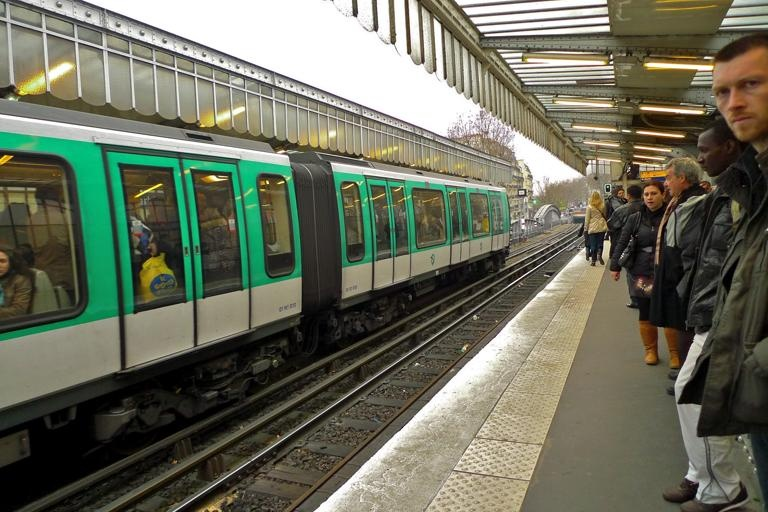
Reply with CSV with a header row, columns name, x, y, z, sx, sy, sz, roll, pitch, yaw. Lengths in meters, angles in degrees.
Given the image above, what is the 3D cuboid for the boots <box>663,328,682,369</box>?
name,x,y,z,sx,sy,sz,roll,pitch,yaw
boots,3.992,1.263,6.937,0.235,0.544,0.561,-8,-10,27

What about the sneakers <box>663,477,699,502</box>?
name,x,y,z,sx,sy,sz,roll,pitch,yaw
sneakers,2.585,2.057,4.457,0.341,0.142,0.128,-2,3,9

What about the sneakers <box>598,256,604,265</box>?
name,x,y,z,sx,sy,sz,roll,pitch,yaw
sneakers,7.613,0.137,17.818,0.098,0.293,0.114,-32,14,-1

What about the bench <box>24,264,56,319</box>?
name,x,y,z,sx,sy,sz,roll,pitch,yaw
bench,-3.524,0.368,5.259,0.364,0.512,0.386,2,1,33

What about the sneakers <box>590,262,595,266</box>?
name,x,y,z,sx,sy,sz,roll,pitch,yaw
sneakers,7.219,0.249,17.517,0.087,0.085,0.125,-20,-8,22
